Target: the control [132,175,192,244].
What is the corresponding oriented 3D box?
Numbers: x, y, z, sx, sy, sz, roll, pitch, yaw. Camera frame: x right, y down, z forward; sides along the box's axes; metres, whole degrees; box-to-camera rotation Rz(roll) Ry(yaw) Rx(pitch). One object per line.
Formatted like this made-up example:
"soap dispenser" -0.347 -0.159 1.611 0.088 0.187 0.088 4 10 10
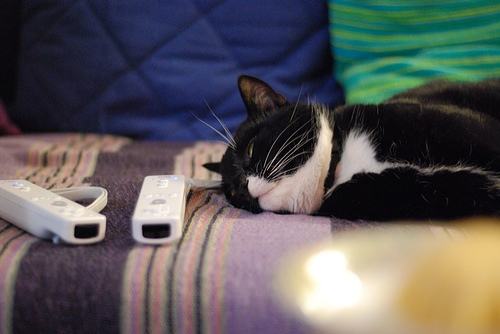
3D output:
"control" -0.195 0.083 1.062 0.094 0.066 0.226 -1 23 -4
